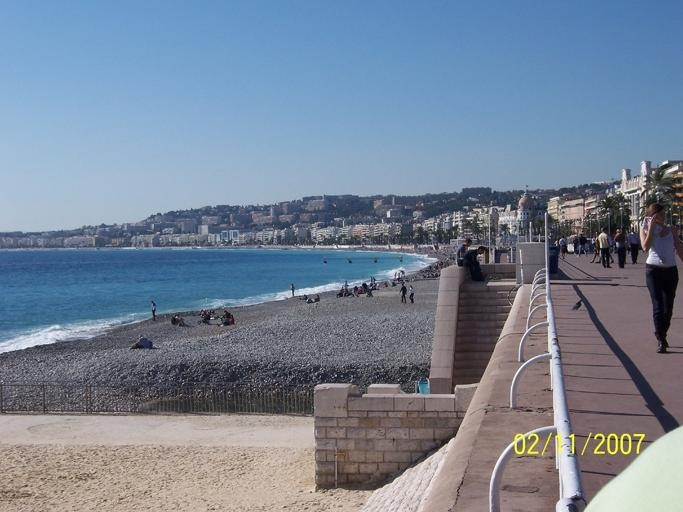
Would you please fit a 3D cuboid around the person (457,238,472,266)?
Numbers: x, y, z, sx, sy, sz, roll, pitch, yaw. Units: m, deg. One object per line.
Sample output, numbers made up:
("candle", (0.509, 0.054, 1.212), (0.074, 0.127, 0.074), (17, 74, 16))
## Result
("person", (3.653, -0.135, 21.739), (0.393, 0.790, 0.802), (-3, 4, 9))
